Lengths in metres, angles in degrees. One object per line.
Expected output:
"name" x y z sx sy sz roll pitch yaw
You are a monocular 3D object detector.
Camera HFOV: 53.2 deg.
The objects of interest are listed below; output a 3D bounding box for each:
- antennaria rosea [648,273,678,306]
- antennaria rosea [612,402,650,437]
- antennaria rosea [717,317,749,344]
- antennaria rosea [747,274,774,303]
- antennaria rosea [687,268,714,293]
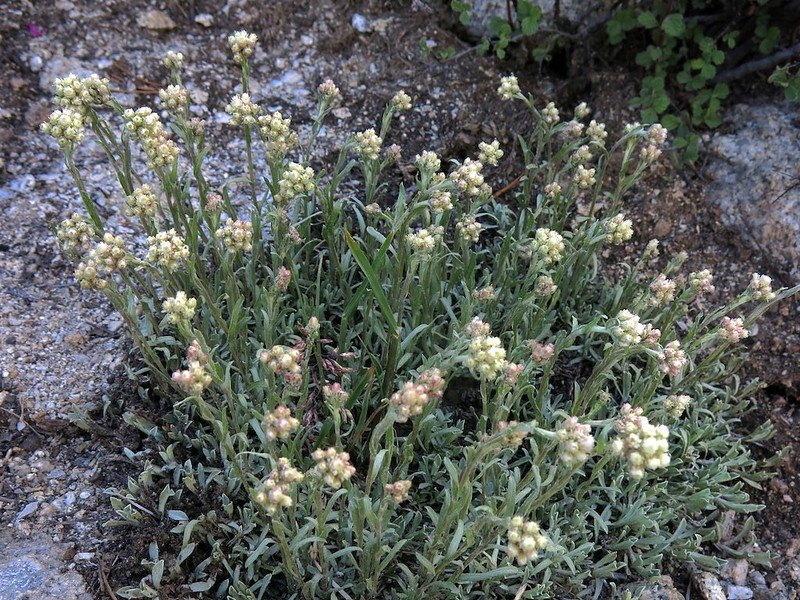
"antennaria rosea" 1.631 -0.062 5.079 0.205 0.161 0.138 9 62 -13
"antennaria rosea" 1.227 0.640 4.277 0.151 0.186 0.124 -8 97 -6
"antennaria rosea" 2.122 0.198 5.137 0.172 0.129 0.204 37 22 7
"antennaria rosea" 2.361 -0.072 5.247 0.161 0.105 0.127 45 56 5
"antennaria rosea" 1.915 -0.114 5.116 0.181 0.219 0.150 5 88 -1
